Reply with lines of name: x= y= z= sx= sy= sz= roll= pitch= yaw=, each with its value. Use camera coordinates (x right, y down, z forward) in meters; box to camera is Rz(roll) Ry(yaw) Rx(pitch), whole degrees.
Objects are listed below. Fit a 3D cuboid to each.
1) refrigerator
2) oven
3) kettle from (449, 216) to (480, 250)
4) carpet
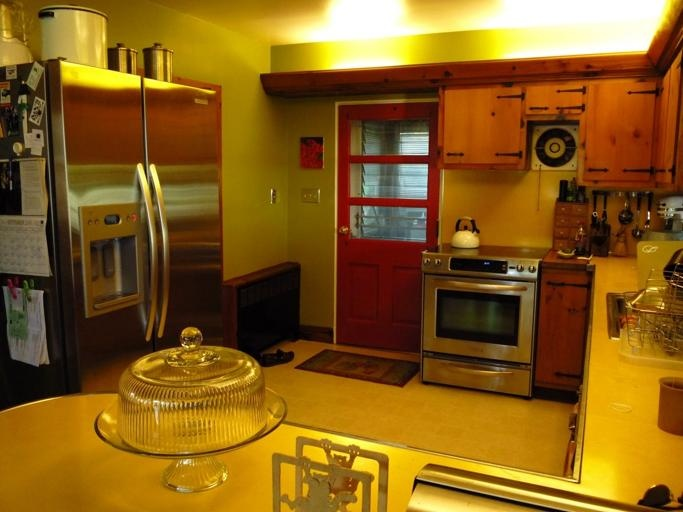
refrigerator: x=-1.019 y=-0.145 z=2.782 sx=0.267 sy=1.570 sz=0.923 roll=6 pitch=12 yaw=28
oven: x=1.119 y=0.535 z=4.669 sx=1.175 sy=1.532 sz=1.051 roll=2 pitch=6 yaw=20
kettle: x=1.053 y=-0.210 z=4.529 sx=0.286 sy=0.314 sz=0.279 roll=2 pitch=8 yaw=31
carpet: x=0.169 y=0.980 z=4.715 sx=1.017 sy=0.017 sz=0.608 roll=5 pitch=11 yaw=22
